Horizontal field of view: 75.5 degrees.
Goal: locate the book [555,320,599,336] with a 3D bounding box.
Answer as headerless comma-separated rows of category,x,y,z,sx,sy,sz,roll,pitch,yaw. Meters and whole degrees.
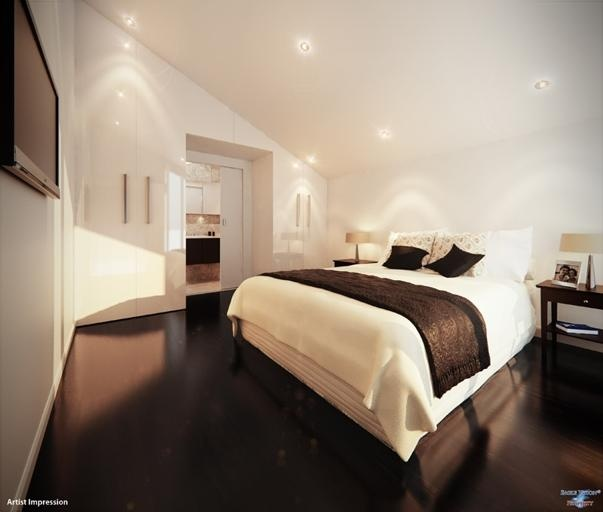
book,2.296,0.611,3.214,0.323,0.050,0.222,3,7,21

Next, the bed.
bed,0.895,0.573,2.963,1.740,1.059,1.687,-1,1,-36
